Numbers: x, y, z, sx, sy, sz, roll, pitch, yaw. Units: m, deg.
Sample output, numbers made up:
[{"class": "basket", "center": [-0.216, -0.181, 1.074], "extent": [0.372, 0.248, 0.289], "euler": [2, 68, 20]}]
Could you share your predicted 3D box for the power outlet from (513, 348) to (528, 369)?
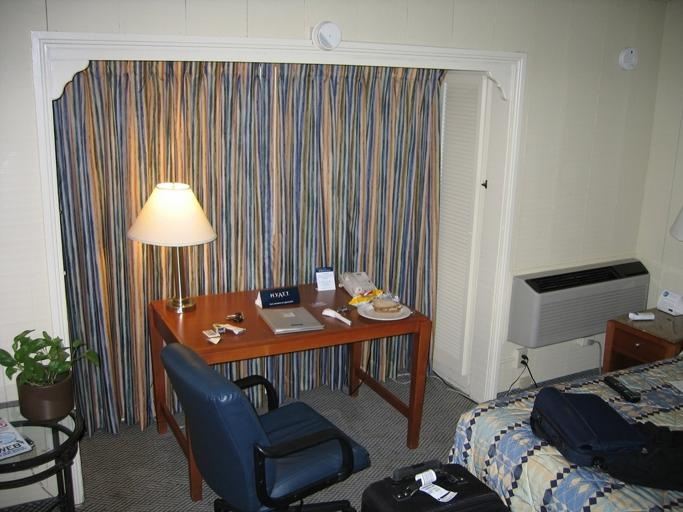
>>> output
[{"class": "power outlet", "center": [1.380, 0.788, 4.197], "extent": [0.130, 0.151, 0.034], "euler": [-4, 7, -17]}]

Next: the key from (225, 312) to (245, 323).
[{"class": "key", "center": [-0.622, 0.357, 3.216], "extent": [0.118, 0.045, 0.134], "euler": [1, 16, 10]}]

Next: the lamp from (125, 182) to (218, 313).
[{"class": "lamp", "center": [-1.047, -0.060, 3.300], "extent": [0.501, 0.823, 0.512], "euler": [18, 24, 36]}]

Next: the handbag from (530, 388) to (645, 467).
[{"class": "handbag", "center": [1.175, 0.801, 2.582], "extent": [0.499, 0.225, 0.340], "euler": [0, 16, 7]}]

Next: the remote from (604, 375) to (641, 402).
[{"class": "remote", "center": [1.568, 0.745, 3.031], "extent": [0.072, 0.031, 0.139], "euler": [-5, 17, -16]}]

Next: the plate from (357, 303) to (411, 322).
[{"class": "plate", "center": [0.276, 0.345, 3.332], "extent": [0.341, 0.061, 0.198], "euler": [-3, 16, -4]}]

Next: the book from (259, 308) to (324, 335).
[{"class": "book", "center": [-0.300, 0.377, 3.218], "extent": [0.297, 0.053, 0.356], "euler": [-9, 17, -22]}]
